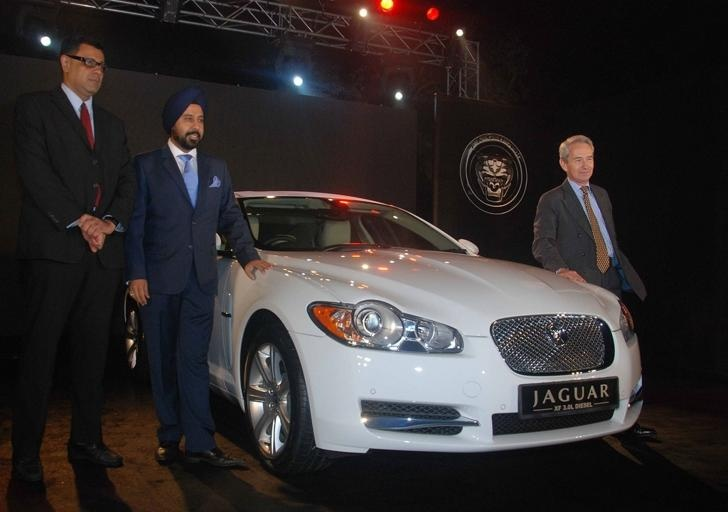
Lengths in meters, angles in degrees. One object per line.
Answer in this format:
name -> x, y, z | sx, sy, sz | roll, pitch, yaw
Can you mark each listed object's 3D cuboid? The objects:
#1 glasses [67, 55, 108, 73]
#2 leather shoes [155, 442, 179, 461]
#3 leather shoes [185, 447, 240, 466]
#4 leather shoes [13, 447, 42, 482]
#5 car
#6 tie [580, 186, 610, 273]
glasses -> -1.543, -1.091, 3.021 | 0.108, 0.074, 0.214 | 2, 3, 33
leather shoes -> -1.199, 1.199, 3.238 | 0.066, 0.077, 0.169 | 3, 6, -1
leather shoes -> -0.885, 1.176, 3.219 | 0.348, 0.146, 0.127 | 0, -7, 2
leather shoes -> -1.847, 1.173, 2.937 | 0.125, 0.078, 0.206 | 0, 35, -44
car -> -0.238, 0.182, 3.785 | 1.464, 1.166, 3.210 | 2, -2, -30
tie -> 1.657, -0.193, 3.802 | 0.126, 0.599, 0.039 | -4, -12, -23
